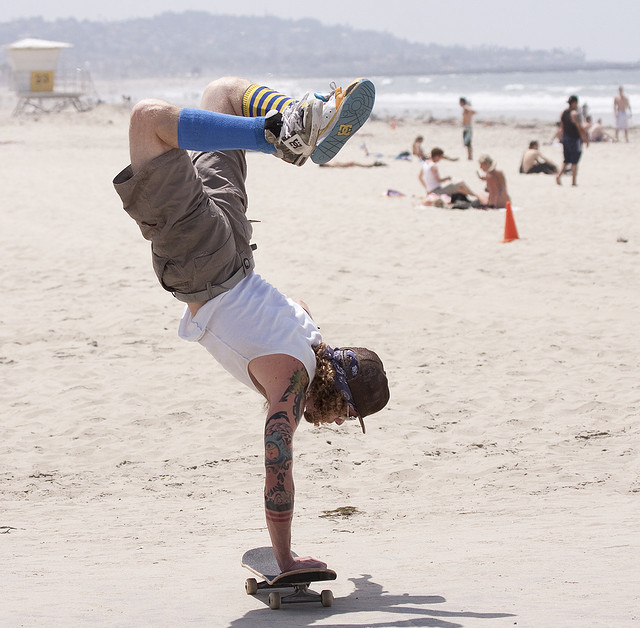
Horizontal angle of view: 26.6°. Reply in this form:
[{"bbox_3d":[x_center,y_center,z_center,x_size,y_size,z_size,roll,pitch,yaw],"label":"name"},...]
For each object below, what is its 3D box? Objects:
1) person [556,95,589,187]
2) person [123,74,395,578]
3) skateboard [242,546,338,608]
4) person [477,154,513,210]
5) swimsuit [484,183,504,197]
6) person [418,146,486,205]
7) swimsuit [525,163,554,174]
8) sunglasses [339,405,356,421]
[{"bbox_3d":[3.927,-2.716,21.303,0.485,1.408,0.926,-2,7,10],"label":"person"},{"bbox_3d":[-0.420,0.057,9.013,1.544,3.258,0.743,0,8,20],"label":"person"},{"bbox_3d":[-0.245,1.735,8.907,0.300,0.192,0.740,1,-4,-22],"label":"skateboard"},{"bbox_3d":[2.483,-1.889,19.430,0.468,0.794,1.182,-2,6,7],"label":"person"},{"bbox_3d":[2.494,-1.777,19.432,0.222,0.194,0.345,2,14,10],"label":"swimsuit"},{"bbox_3d":[2.013,-2.077,20.046,0.444,0.720,1.140,-29,22,-9],"label":"person"},{"bbox_3d":[3.831,-2.524,23.639,0.369,0.099,0.197,-6,10,3],"label":"swimsuit"},{"bbox_3d":[0.185,0.680,9.121,0.134,0.124,0.123,-1,7,1],"label":"sunglasses"}]
